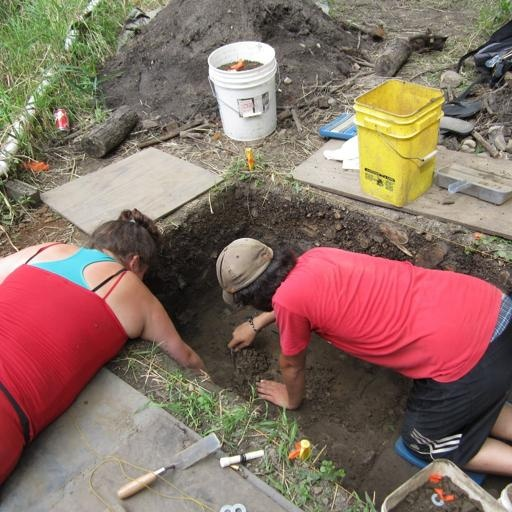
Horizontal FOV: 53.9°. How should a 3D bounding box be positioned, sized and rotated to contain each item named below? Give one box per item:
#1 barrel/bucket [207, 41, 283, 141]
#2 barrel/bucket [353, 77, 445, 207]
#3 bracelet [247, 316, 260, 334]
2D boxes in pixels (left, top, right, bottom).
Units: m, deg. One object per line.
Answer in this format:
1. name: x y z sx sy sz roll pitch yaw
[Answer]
1. barrel/bucket: -0.074 -1.228 3.747 0.569 0.518 0.530 -3 48 3
2. barrel/bucket: 0.842 -0.660 2.932 0.416 0.621 0.454 -7 42 7
3. bracelet: 0.016 0.421 3.126 0.038 0.101 0.080 -45 34 0
